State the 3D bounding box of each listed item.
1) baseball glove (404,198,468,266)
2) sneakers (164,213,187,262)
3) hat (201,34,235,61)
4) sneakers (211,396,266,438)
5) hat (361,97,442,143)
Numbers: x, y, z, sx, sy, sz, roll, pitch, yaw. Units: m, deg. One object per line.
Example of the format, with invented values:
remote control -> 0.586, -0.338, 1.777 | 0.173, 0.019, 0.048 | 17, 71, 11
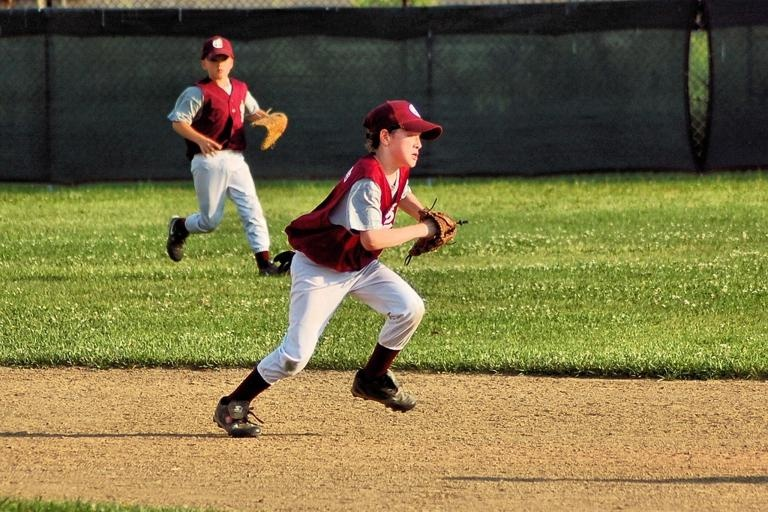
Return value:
baseball glove -> 0.381, -0.143, 13.496 | 0.586, 0.553, 0.192 | -15, 22, -12
sneakers -> -2.215, -0.187, 16.403 | 0.178, 0.534, 0.241 | -5, 18, -35
hat -> -1.746, -2.180, 16.021 | 0.287, 0.229, 0.395 | -4, 2, -10
sneakers -> -1.271, 1.385, 13.325 | 0.403, 0.226, 0.271 | 21, 22, 29
hat -> 0.112, -1.143, 13.233 | 0.658, 0.323, 0.429 | -2, -2, -6
